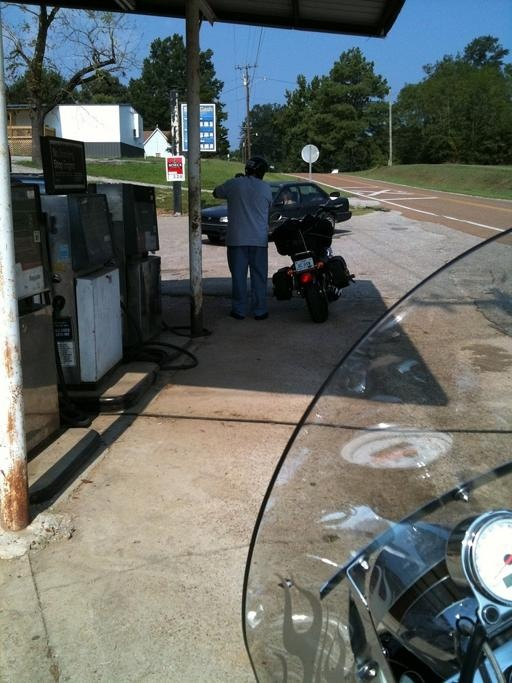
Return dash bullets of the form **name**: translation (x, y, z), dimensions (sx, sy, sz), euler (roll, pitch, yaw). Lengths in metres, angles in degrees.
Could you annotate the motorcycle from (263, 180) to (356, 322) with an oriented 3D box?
- **motorcycle**: translation (0.770, -1.145, 7.025), dimensions (0.790, 1.056, 1.946), euler (-21, 16, 17)
